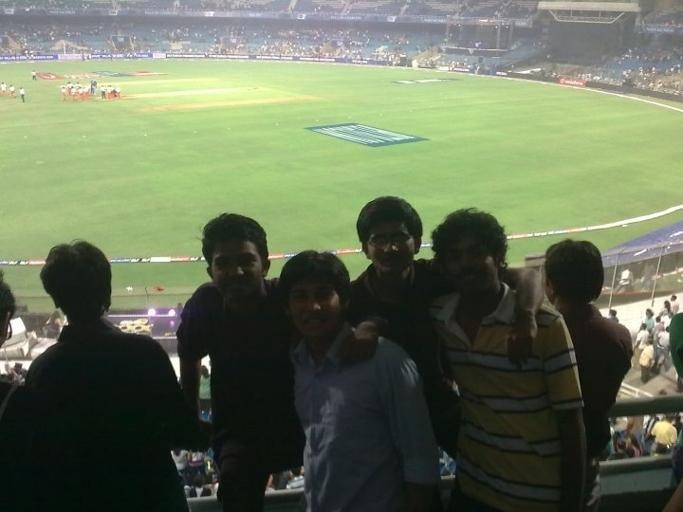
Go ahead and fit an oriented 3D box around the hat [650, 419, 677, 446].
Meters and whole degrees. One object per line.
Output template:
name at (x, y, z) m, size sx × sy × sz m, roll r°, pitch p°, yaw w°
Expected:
hat at (2.513, 1.385, 5.506) m, size 0.200 × 0.202 × 0.055 m, roll -19°, pitch -5°, yaw 12°
